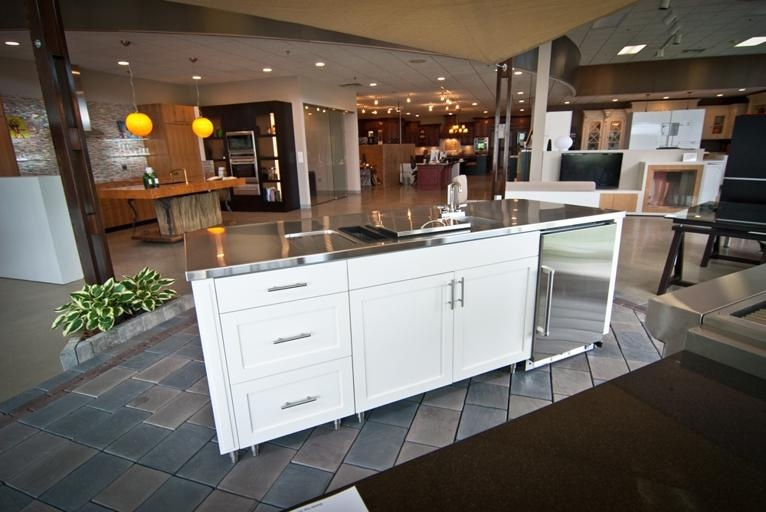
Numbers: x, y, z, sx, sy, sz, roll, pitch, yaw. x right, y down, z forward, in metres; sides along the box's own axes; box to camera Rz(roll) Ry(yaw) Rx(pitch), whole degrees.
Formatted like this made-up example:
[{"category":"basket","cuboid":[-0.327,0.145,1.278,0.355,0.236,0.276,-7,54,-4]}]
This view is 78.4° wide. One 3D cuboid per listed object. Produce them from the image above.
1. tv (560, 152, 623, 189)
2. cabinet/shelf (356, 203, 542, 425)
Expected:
[{"category":"tv","cuboid":[3.989,-1.626,8.951,1.116,0.720,0.250,1,20,13]},{"category":"cabinet/shelf","cuboid":[0.152,0.417,3.725,2.010,0.961,1.042,-7,10,-40]}]
